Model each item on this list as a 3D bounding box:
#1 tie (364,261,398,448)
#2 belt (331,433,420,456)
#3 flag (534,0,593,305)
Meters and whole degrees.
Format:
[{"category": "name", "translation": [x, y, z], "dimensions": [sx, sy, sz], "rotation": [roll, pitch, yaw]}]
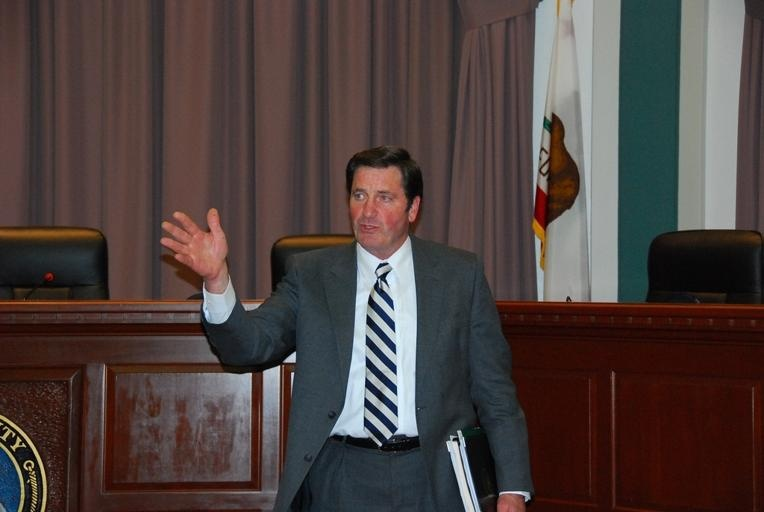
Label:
[{"category": "tie", "translation": [-0.011, 0.427, 3.622], "dimensions": [0.153, 0.791, 0.097], "rotation": [0, -5, -11]}, {"category": "belt", "translation": [-0.032, 0.812, 3.570], "dimensions": [0.381, 0.075, 0.038], "rotation": [-2, -5, 2]}, {"category": "flag", "translation": [1.375, -0.808, 6.435], "dimensions": [0.406, 2.317, 0.345], "rotation": [-2, -5, 15]}]
